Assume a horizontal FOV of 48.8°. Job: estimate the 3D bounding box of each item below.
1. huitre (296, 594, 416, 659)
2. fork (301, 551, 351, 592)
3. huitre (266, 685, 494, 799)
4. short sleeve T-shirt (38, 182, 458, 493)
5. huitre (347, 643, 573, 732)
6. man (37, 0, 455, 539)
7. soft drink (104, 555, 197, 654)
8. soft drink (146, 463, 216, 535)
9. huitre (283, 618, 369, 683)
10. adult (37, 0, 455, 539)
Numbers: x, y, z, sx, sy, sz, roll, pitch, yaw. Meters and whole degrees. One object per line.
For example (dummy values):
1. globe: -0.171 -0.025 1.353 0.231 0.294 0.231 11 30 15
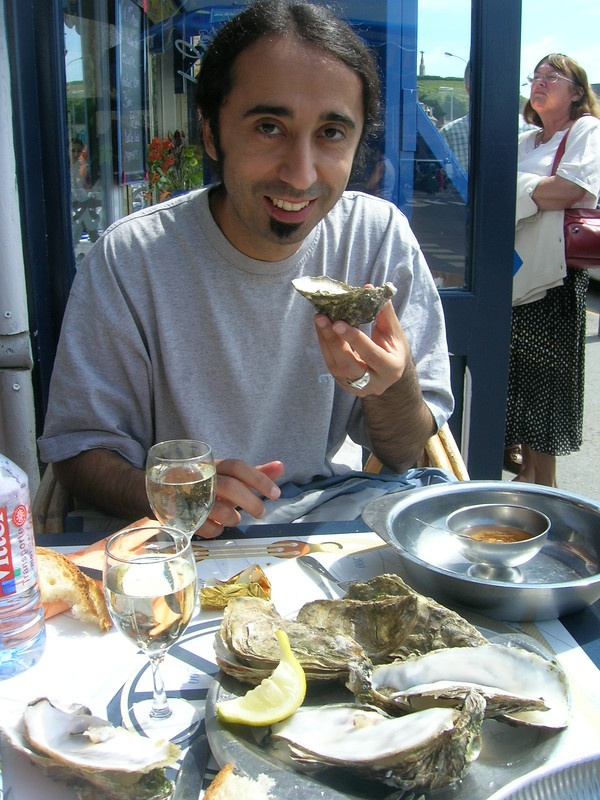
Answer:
1. huitre: 0.070 0.268 0.836 0.118 0.055 0.081 4 1 21
2. fork: 0.034 0.270 1.057 0.027 0.021 0.150 -8 10 -24
3. huitre: 0.073 0.316 0.641 0.151 0.054 0.104 -5 -6 15
4. short sleeve T-shirt: -0.143 -0.141 1.708 1.073 0.665 0.523 0 28 -14
5. huitre: 0.181 0.294 0.718 0.162 0.037 0.089 9 -2 2
6. man: -0.104 -0.347 1.644 1.123 1.217 0.537 -7 11 -20
7. soft drink: -0.181 0.229 0.742 0.072 0.099 0.073 -23 41 -34
8. soft drink: -0.188 0.166 1.069 0.108 0.129 0.097 -5 11 -11
9. huitre: 0.029 0.285 0.764 0.068 0.022 0.054 18 16 35
10. adult: -0.104 -0.347 1.644 1.123 1.217 0.537 -7 11 -20
